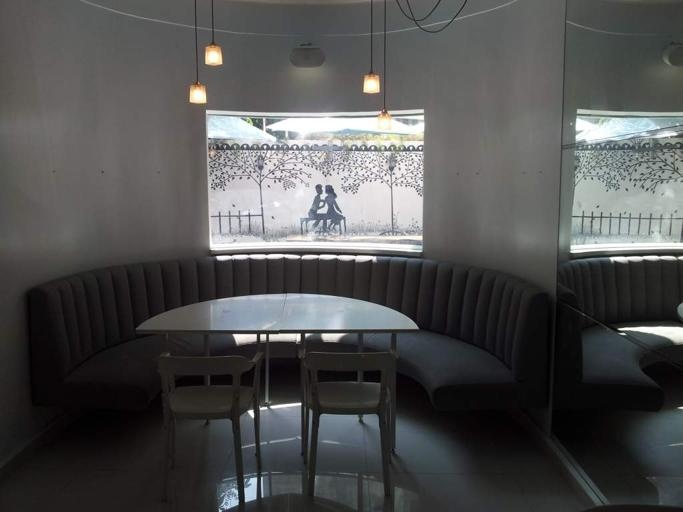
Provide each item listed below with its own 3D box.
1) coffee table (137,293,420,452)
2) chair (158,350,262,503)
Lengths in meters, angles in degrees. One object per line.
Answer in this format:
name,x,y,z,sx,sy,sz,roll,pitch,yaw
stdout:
coffee table,-0.472,1.139,4.320,1.794,0.974,1.216,0,5,1
chair,-0.895,1.110,3.699,0.645,1.042,0.440,1,11,1
